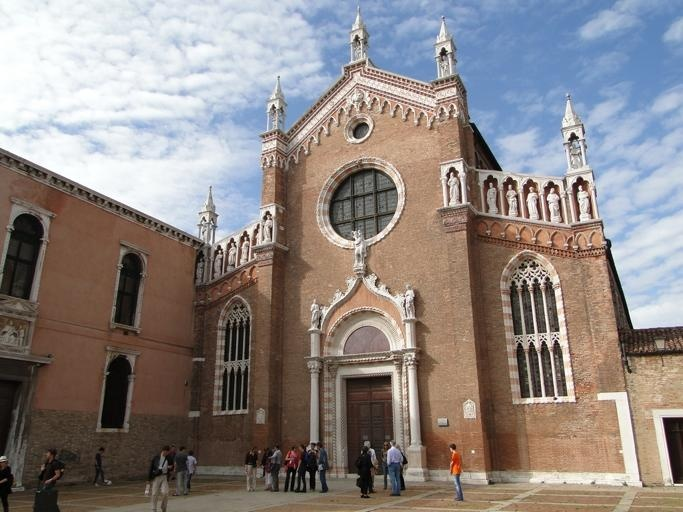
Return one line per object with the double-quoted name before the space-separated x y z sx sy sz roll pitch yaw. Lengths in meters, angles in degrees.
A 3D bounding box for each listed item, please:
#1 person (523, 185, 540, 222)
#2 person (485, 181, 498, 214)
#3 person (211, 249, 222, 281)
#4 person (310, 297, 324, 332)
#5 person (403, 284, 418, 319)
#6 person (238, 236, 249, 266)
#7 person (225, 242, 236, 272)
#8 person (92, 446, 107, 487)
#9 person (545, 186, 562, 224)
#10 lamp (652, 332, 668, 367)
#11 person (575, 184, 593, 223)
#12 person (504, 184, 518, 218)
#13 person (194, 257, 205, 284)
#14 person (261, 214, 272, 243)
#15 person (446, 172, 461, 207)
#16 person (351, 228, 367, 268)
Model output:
"person" 8.673 -2.398 25.182 0.589 1.752 0.272 -11 -24 17
"person" 7.027 -2.641 25.854 0.571 1.775 0.334 -11 -24 17
"person" -6.904 0.436 30.892 0.660 1.744 0.258 -16 -26 27
"person" -1.230 2.796 27.091 0.574 1.633 0.318 -20 -28 34
"person" 3.136 2.072 25.257 0.473 1.609 0.484 15 -29 -36
"person" -5.306 -0.266 30.054 0.312 1.717 0.803 17 -30 -39
"person" -6.086 0.102 30.533 0.319 1.855 0.861 17 -30 -40
"person" -10.678 9.207 24.531 0.539 1.584 1.011 2 -23 -12
"person" 9.507 -2.233 24.748 0.558 1.826 0.251 -11 -24 18
"lamp" 12.542 3.655 21.657 0.406 1.062 0.319 -13 -25 21
"person" 10.572 -2.338 24.190 0.638 1.860 0.424 -13 -25 22
"person" 7.858 -2.532 25.519 0.552 1.758 0.279 -11 -24 17
"person" -7.917 0.811 31.098 0.609 1.624 0.166 -15 -26 25
"person" -3.859 -1.420 28.916 0.739 1.747 0.207 -16 -26 27
"person" 5.137 -3.053 25.344 0.611 1.814 0.306 -10 -24 16
"person" 0.854 -0.323 27.157 0.485 2.255 0.728 16 -30 -38
